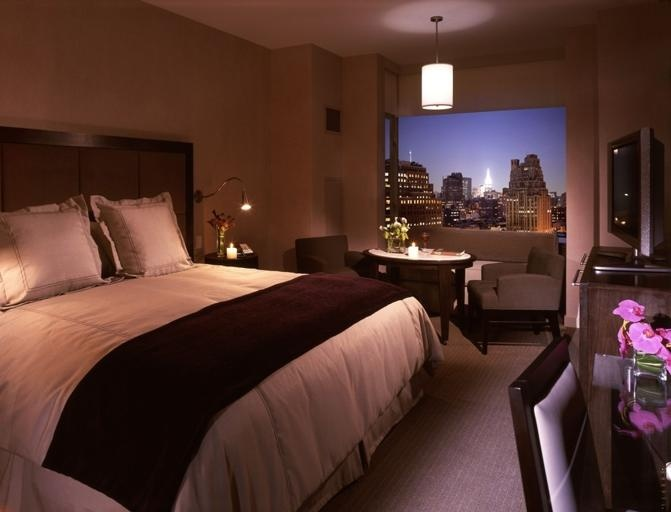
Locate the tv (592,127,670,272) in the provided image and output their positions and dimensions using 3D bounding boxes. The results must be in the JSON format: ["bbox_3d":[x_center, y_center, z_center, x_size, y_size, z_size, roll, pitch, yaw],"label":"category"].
[{"bbox_3d":[2.215,-0.423,3.690,0.357,1.191,1.227,-1,2,14],"label":"tv"}]

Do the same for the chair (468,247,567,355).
[{"bbox_3d":[1.810,0.409,5.137,0.750,1.014,1.044,3,5,4],"label":"chair"}]

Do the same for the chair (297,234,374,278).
[{"bbox_3d":[-0.065,-0.006,5.927,0.693,0.774,0.506,-2,-1,-42],"label":"chair"}]

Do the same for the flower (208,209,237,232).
[{"bbox_3d":[-1.225,-0.361,5.319,0.222,0.172,0.233,14,2,-36],"label":"flower"}]

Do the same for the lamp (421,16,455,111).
[{"bbox_3d":[1.057,-2.008,5.202,0.292,0.998,0.333,1,-3,4],"label":"lamp"}]

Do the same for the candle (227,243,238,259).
[{"bbox_3d":[-1.104,-0.050,5.283,0.133,0.191,0.149,0,4,-5],"label":"candle"}]

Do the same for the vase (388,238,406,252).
[{"bbox_3d":[0.722,-0.107,5.813,0.221,0.175,0.249,0,3,5],"label":"vase"}]

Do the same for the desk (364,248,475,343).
[{"bbox_3d":[0.895,0.297,5.411,0.945,0.824,1.244,20,5,15],"label":"desk"}]
